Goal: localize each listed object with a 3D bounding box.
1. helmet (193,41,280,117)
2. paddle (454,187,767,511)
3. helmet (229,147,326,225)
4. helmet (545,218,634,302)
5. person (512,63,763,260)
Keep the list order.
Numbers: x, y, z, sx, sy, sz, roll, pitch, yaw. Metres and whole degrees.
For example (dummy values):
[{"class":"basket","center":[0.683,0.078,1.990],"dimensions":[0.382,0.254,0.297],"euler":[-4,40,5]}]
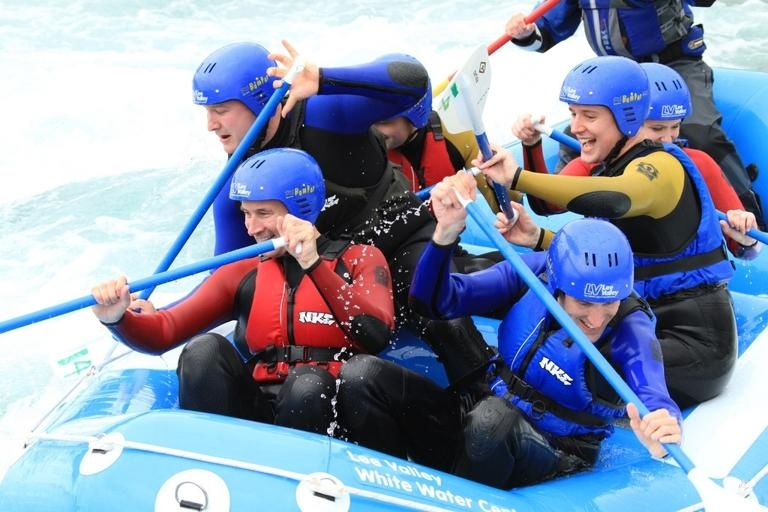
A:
[{"class":"helmet","center":[-0.732,-0.851,3.326],"dimensions":[0.404,0.315,0.292],"euler":[-43,20,-13]},{"class":"paddle","center":[0.974,0.435,2.936],"dimensions":[1.720,0.348,0.091],"euler":[51,38,14]},{"class":"helmet","center":[-0.475,-0.334,3.050],"dimensions":[0.388,0.292,0.290],"euler":[-16,21,-32]},{"class":"helmet","center":[0.789,0.018,2.769],"dimensions":[0.273,0.294,0.348],"euler":[-1,33,-2]},{"class":"person","center":[1.424,-0.493,3.624],"dimensions":[1.209,0.633,0.760],"euler":[-21,46,21]}]
